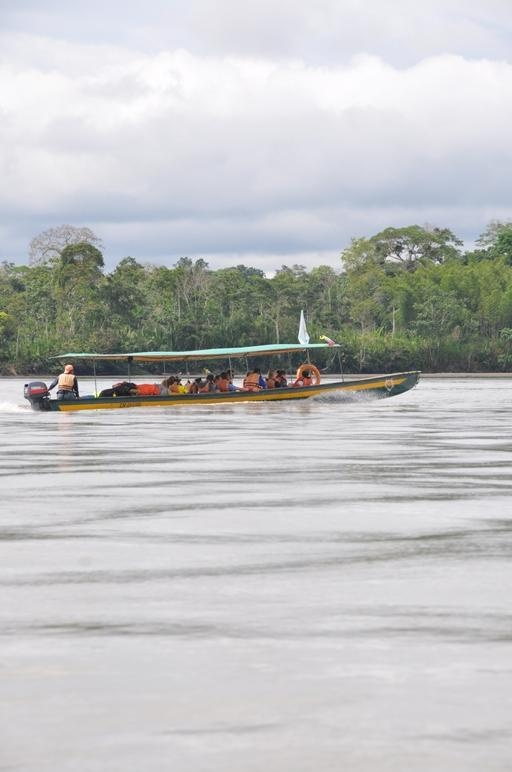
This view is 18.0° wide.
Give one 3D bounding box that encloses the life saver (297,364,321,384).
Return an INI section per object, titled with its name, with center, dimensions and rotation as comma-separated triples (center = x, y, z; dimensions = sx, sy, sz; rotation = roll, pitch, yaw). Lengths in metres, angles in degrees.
[life saver]
center = 1.360, -0.343, 39.736
dimensions = 0.636, 0.620, 0.172
rotation = -14, -15, 32
